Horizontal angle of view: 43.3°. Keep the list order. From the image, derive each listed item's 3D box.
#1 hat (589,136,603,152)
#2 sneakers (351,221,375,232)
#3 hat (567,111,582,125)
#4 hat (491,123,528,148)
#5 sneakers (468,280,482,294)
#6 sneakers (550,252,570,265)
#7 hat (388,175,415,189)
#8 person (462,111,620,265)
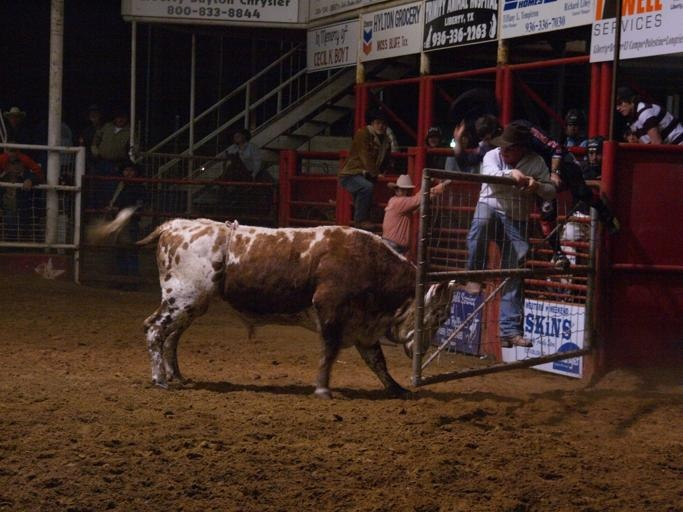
[{"bbox_3d":[2.937,-1.278,9.899,0.167,0.187,0.135,-15,1,18],"label":"hat"},{"bbox_3d":[0.258,-0.373,10.981,0.314,0.147,0.119,0,4,25],"label":"sneakers"},{"bbox_3d":[2.962,-1.759,10.920,0.145,0.198,0.181,2,5,-39],"label":"hat"},{"bbox_3d":[1.747,-1.202,8.735,0.295,0.160,0.217,-7,32,-19],"label":"hat"},{"bbox_3d":[1.317,0.310,8.462,0.125,0.090,0.134,0,4,-29],"label":"sneakers"},{"bbox_3d":[2.283,0.047,8.796,0.122,0.148,0.098,2,-4,-2],"label":"sneakers"},{"bbox_3d":[0.733,-0.889,10.343,0.309,0.170,0.510,2,9,4],"label":"hat"},{"bbox_3d":[2.109,-0.716,9.222,0.925,1.495,1.543,-6,11,-39],"label":"person"}]
